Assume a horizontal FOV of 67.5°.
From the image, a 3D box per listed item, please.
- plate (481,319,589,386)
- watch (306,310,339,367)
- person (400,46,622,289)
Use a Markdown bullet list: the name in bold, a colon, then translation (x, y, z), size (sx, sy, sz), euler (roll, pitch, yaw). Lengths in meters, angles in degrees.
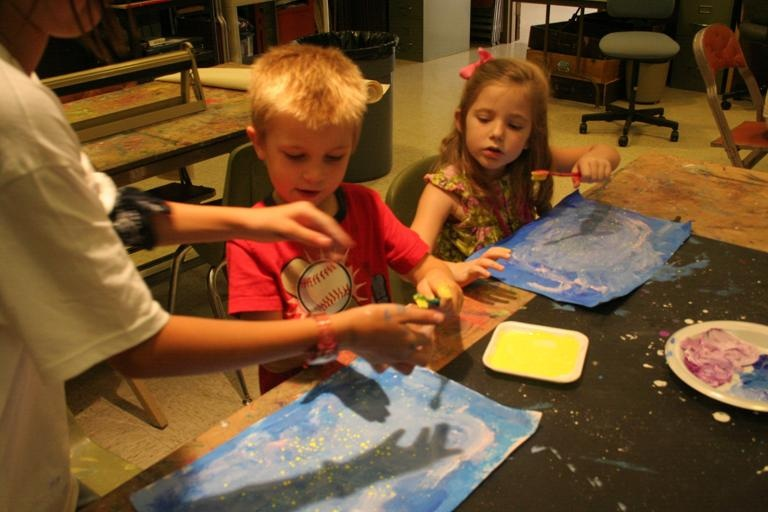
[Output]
- **plate**: translation (0.340, 0.209, 1.308), size (0.161, 0.017, 0.141), euler (7, 35, 21)
- **watch**: translation (-0.107, 0.154, 1.057), size (0.062, 0.083, 0.092), euler (-7, -7, -12)
- **person**: translation (0.429, -0.205, 1.930), size (0.695, 0.872, 0.654), euler (-5, 28, 2)
